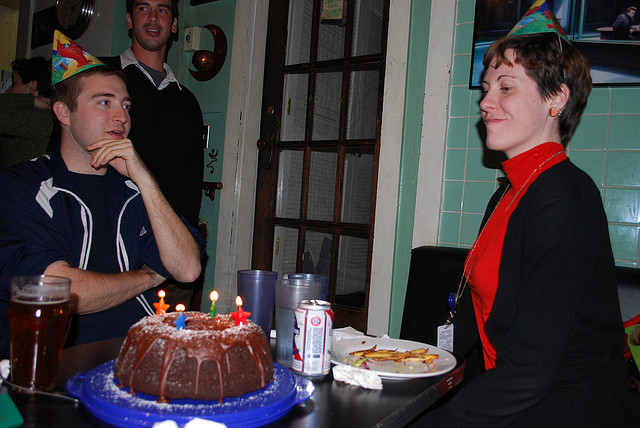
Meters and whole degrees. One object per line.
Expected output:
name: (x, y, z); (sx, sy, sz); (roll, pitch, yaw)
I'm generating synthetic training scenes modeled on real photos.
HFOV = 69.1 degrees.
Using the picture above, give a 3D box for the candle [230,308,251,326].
candle: (-0.226, 0.286, 1.338); (0.051, 0.041, 0.063); (2, 8, -13)

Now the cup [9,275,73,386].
cup: (-0.728, 0.297, 1.211); (0.137, 0.271, 0.098); (0, 8, -26)

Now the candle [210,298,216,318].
candle: (-0.311, 0.272, 1.363); (0.010, 0.064, 0.048); (2, 8, -14)

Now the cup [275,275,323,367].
cup: (-0.023, 0.339, 1.454); (0.170, 0.274, 0.175); (-1, 1, 0)

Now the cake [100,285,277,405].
cake: (-0.385, 0.294, 1.301); (0.338, 0.177, 0.331); (2, -3, -40)

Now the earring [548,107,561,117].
earring: (0.810, -0.352, 1.602); (0.047, 0.029, 0.016); (2, 8, -11)
